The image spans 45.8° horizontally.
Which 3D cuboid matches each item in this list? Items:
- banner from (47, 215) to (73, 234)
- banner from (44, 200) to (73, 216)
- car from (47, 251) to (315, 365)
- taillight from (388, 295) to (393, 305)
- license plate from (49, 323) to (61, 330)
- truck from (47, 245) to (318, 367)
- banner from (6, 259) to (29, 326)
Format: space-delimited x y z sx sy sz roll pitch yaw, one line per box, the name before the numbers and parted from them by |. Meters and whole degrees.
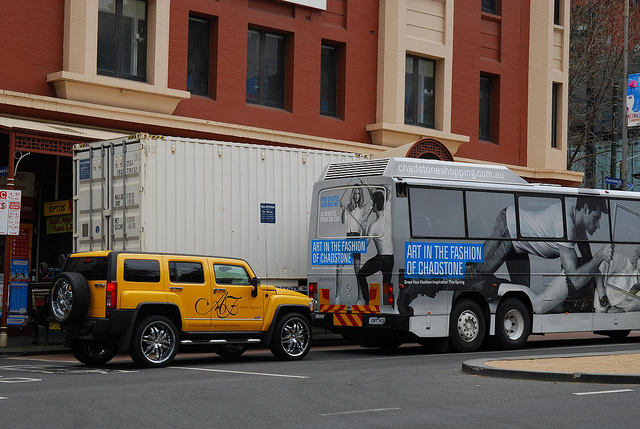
banner | -7.825 0.289 22.684 1.090 0.579 0.252 1 -3 28
banner | -7.816 -0.194 22.579 1.392 0.412 0.108 -3 -2 41
car | -3.155 1.872 16.754 5.062 2.046 2.544 1 -3 -36
taillight | 1.665 2.035 18.103 0.118 0.226 0.037 -2 -2 16
license plate | -5.672 2.381 16.228 0.291 0.179 0.039 1 13 17
truck | -3.131 1.721 16.863 4.969 1.968 2.818 1 -3 -34
banner | -8.829 2.231 22.213 0.525 1.835 1.042 -1 -2 -18
